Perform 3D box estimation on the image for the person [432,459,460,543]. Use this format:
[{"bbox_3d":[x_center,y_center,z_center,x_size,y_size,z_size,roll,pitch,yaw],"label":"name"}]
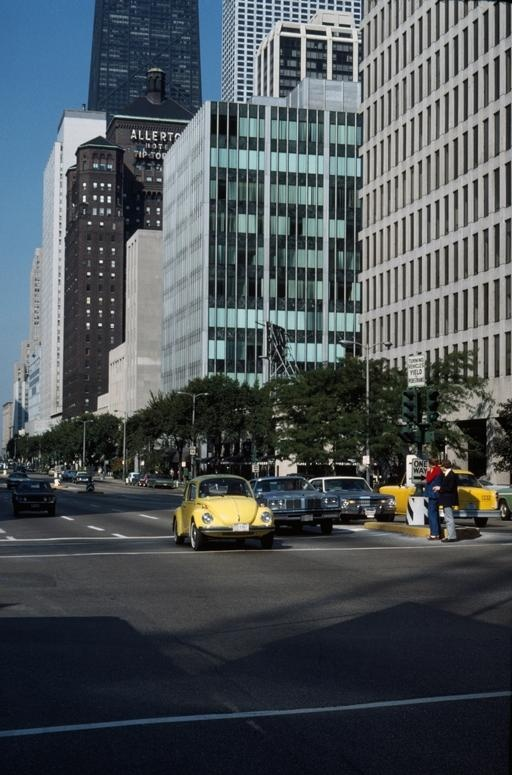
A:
[{"bbox_3d":[3.980,2.418,21.931,0.420,1.668,2.030,-2,-6,11],"label":"person"}]
